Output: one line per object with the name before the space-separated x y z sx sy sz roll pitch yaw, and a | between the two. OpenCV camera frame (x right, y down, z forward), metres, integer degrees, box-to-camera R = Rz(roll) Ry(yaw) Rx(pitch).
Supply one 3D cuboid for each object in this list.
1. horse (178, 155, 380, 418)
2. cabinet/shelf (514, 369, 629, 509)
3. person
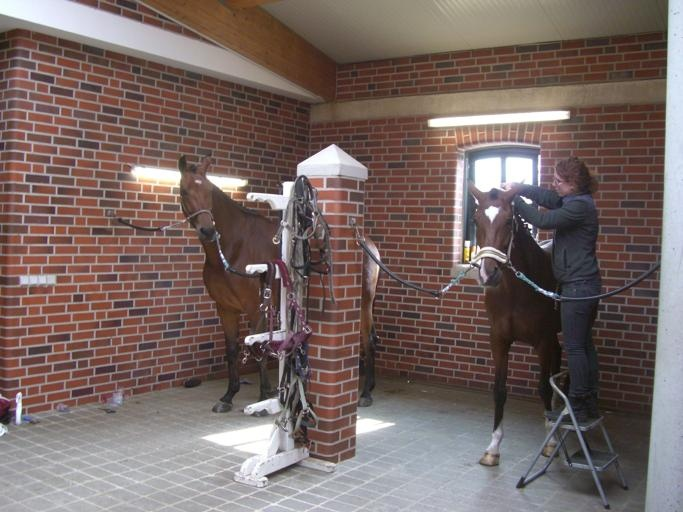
horse | -0.547 0.369 6.498 2.482 2.792 3.196 2 4 -8
cabinet/shelf | 2.225 1.571 5.196 1.124 1.369 0.862 -8 -8 38
person | 1.927 0.279 5.048 0.771 2.272 0.608 4 5 25
